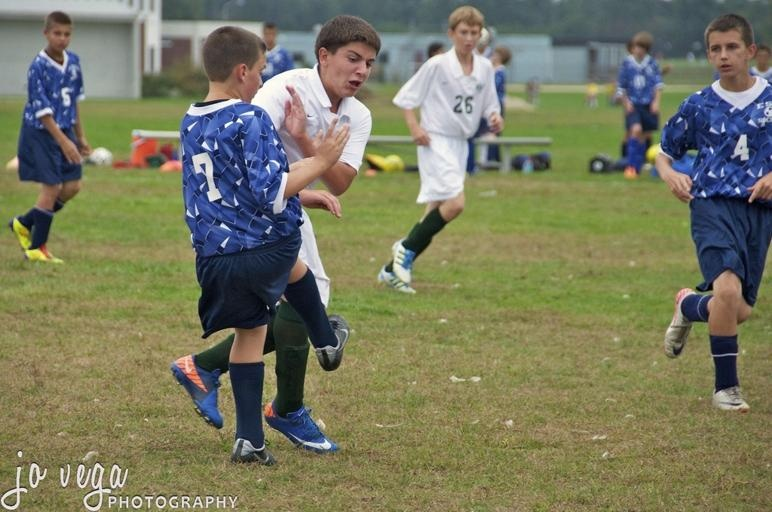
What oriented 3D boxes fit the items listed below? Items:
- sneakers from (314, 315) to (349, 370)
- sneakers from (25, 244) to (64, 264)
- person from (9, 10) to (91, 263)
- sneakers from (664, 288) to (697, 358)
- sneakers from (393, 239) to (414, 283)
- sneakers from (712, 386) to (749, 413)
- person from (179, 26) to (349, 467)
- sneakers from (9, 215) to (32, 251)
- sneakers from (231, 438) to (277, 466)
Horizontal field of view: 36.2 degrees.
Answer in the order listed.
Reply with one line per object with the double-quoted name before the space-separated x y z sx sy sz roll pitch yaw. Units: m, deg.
"sneakers" -0.350 0.633 8.259 0.179 0.194 0.452 -11 43 17
"sneakers" -3.229 -0.015 11.080 0.448 0.174 0.143 1 7 -11
"person" -3.140 -1.130 11.092 0.562 2.328 0.637 8 12 34
"sneakers" 2.370 0.555 9.273 0.212 0.562 0.270 13 10 9
"sneakers" 0.143 0.056 10.877 0.201 0.403 0.155 -22 -14 30
"sneakers" 2.572 1.072 8.809 0.124 0.132 0.310 -10 4 -44
"person" -0.843 -0.046 7.886 1.022 2.938 0.476 -1 10 -11
"sneakers" -3.505 -0.224 11.299 0.154 0.321 0.120 -12 32 12
"sneakers" -0.913 1.336 8.001 0.292 0.113 0.148 8 5 -38
